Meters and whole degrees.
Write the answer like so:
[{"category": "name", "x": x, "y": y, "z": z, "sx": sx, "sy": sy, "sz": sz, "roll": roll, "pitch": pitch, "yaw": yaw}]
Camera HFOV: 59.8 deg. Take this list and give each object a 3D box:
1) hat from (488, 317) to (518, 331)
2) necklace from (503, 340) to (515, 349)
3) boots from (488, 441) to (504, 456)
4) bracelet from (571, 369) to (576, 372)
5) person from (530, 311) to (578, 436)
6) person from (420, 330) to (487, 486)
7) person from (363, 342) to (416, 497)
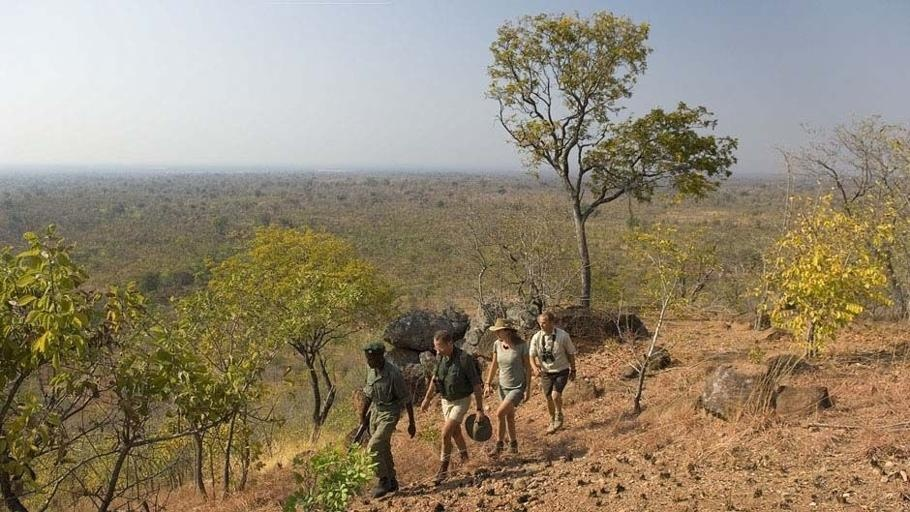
[{"category": "hat", "x": 1.366, "y": 1.763, "z": 20.266, "sx": 0.637, "sy": 0.243, "sz": 0.522, "roll": 5, "pitch": -14, "yaw": -30}, {"category": "necklace", "x": 1.375, "y": 2.250, "z": 20.164, "sx": 0.209, "sy": 0.191, "sz": 0.154, "roll": -15, "pitch": 21, "yaw": -10}, {"category": "boots", "x": 1.093, "y": 4.996, "z": 20.431, "sx": 0.493, "sy": 0.469, "sz": 0.252, "roll": 6, "pitch": -9, "yaw": 5}, {"category": "bracelet", "x": 3.102, "y": 2.986, "z": 20.650, "sx": 0.105, "sy": 0.143, "sz": 0.105, "roll": -3, "pitch": -5, "yaw": 14}, {"category": "person", "x": 2.565, "y": 3.092, "z": 20.902, "sx": 1.175, "sy": 3.293, "sz": 0.564, "roll": 1, "pitch": 7, "yaw": 5}, {"category": "person", "x": -0.019, "y": 3.753, "z": 20.021, "sx": 1.370, "sy": 3.719, "sz": 0.651, "roll": 0, "pitch": 7, "yaw": -2}, {"category": "person", "x": -1.671, "y": 4.094, "z": 19.833, "sx": 1.147, "sy": 3.823, "sz": 0.741, "roll": 0, "pitch": 7, "yaw": -3}]
